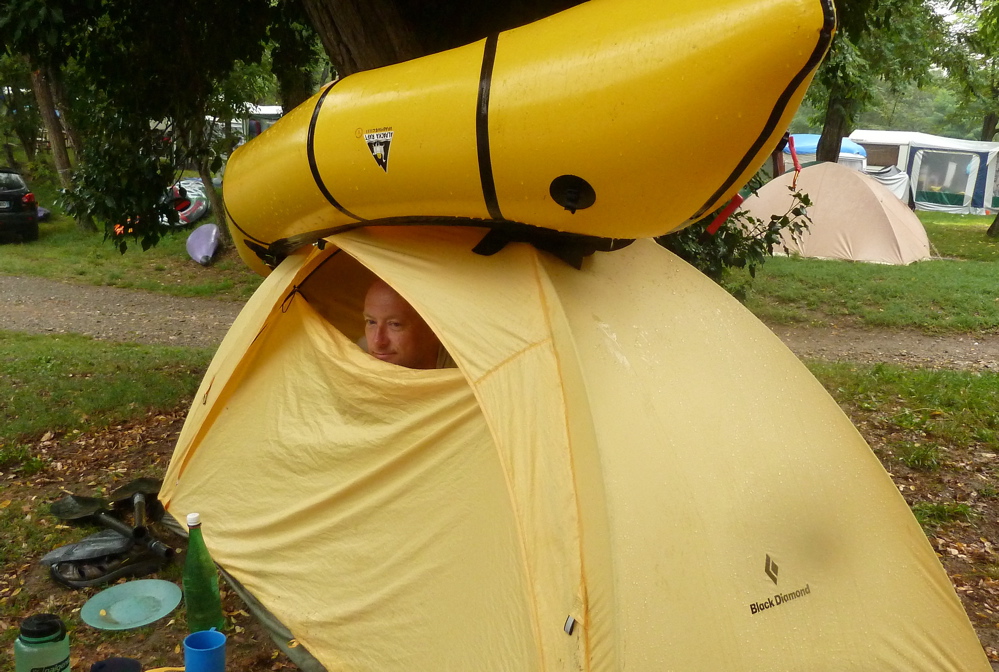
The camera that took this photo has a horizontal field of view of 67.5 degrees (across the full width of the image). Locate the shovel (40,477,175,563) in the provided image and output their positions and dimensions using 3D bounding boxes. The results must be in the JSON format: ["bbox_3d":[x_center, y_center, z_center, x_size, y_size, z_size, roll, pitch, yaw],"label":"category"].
[{"bbox_3d":[-2.649,1.223,5.047,0.467,0.144,0.493,-17,25,-22],"label":"shovel"}]
